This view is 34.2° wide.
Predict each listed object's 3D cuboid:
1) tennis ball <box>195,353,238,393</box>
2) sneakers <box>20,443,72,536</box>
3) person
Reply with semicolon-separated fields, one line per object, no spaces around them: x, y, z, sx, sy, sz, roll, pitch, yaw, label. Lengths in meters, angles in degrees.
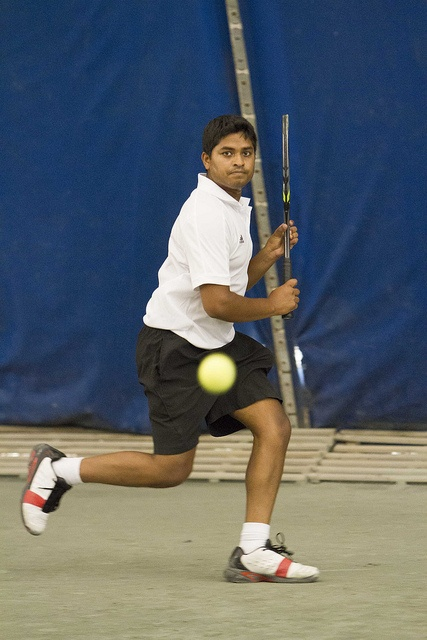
0.008;0.150;1.931;0.127;0.120;0.113;-9;18;-16;tennis ball
-0.439;0.476;2.014;0.221;0.215;0.170;2;12;-3;sneakers
-0.121;0.089;2.047;0.982;1.244;0.535;-3;-1;1;person
